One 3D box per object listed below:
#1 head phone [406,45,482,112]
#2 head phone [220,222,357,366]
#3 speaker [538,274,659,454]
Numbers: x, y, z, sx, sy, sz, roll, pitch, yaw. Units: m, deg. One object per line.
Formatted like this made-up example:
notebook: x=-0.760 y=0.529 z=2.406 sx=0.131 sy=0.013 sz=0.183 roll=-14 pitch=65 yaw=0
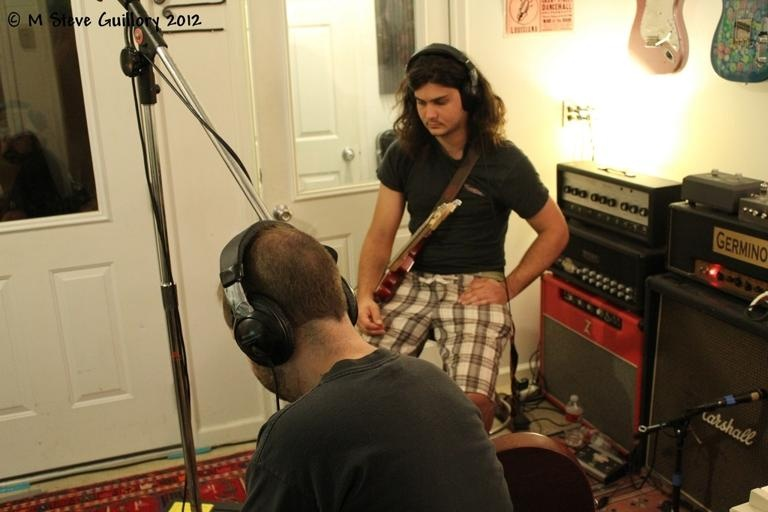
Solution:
head phone: x=0.233 y=-0.769 z=2.705 sx=0.328 sy=0.297 sz=0.123 roll=-9 pitch=1 yaw=-2
head phone: x=-0.322 y=0.081 z=1.824 sx=0.171 sy=0.373 sz=0.427 roll=-17 pitch=5 yaw=20
speaker: x=1.132 y=0.555 z=3.172 sx=0.285 sy=0.725 sz=0.714 roll=-10 pitch=22 yaw=-21
